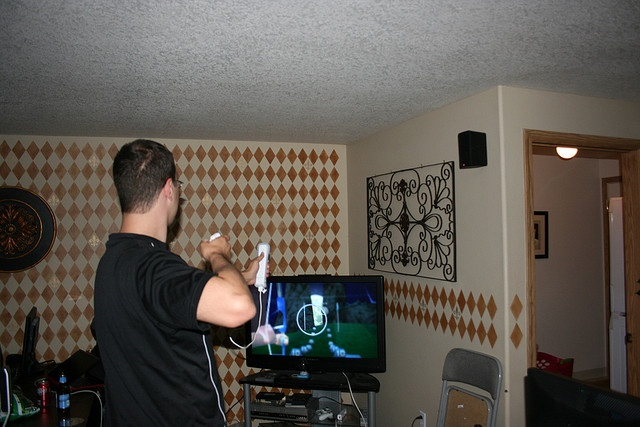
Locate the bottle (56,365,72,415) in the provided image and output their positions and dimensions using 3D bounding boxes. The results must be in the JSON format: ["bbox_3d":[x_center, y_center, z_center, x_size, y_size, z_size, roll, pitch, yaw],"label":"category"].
[{"bbox_3d":[-1.833,1.283,3.423,0.082,0.271,0.219,3,-6,-27],"label":"bottle"}]

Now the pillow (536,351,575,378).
[{"bbox_3d":[2.607,1.679,5.311,0.346,0.201,0.349,-2,-6,23],"label":"pillow"}]

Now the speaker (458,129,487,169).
[{"bbox_3d":[1.246,-0.517,3.991,0.196,0.284,0.257,3,-6,-27],"label":"speaker"}]

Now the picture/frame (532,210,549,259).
[{"bbox_3d":[2.822,0.288,6.170,0.458,0.609,0.042,1,-2,-36],"label":"picture/frame"}]

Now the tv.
[{"bbox_3d":[-0.007,1.108,4.579,1.189,0.873,0.361,-1,-10,5],"label":"tv"}]
